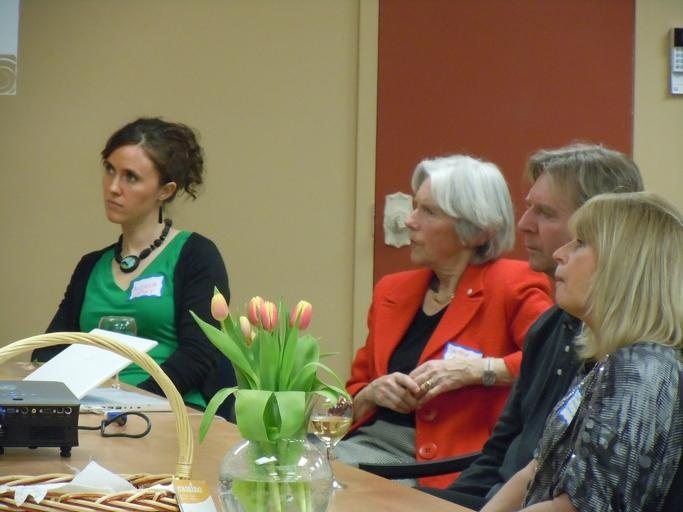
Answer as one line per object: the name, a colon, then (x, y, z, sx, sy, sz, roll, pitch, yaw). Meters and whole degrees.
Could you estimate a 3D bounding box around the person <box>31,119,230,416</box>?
person: (-0.934, 0.113, 3.196, 0.800, 1.333, 0.956, 1, 0, -1)

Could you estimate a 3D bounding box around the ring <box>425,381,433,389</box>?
ring: (0.301, 0.450, 2.576, 0.006, 0.024, 0.022, 20, -42, -21)

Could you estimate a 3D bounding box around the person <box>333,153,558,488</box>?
person: (0.333, 0.423, 2.814, 0.871, 1.557, 0.730, 4, 1, 8)

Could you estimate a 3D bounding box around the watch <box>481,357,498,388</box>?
watch: (0.504, 0.407, 2.594, 0.044, 0.079, 0.082, 0, -33, 10)

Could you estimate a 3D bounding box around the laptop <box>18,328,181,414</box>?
laptop: (-0.715, 0.367, 2.257, 0.305, 0.202, 0.443, 13, -5, -19)
